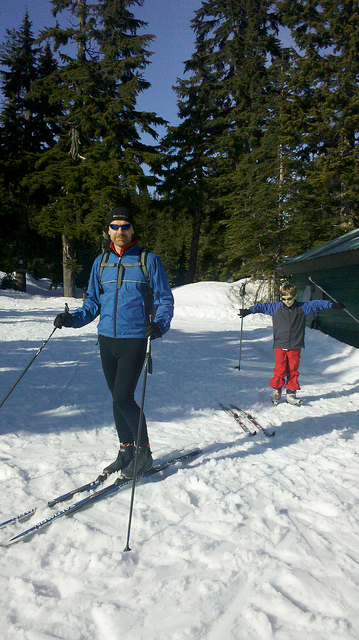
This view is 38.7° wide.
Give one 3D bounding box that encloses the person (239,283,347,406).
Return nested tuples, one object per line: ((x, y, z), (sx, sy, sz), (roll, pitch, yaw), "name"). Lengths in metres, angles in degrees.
((1.448, 0.300, 6.650), (0.804, 1.516, 0.891), (2, 6, -16), "person")

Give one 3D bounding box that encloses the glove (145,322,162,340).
((-0.177, 0.088, 3.337), (0.082, 0.042, 0.112), (-13, 42, -21), "glove")

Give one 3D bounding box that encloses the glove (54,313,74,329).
((-0.832, 0.009, 3.606), (0.101, 0.121, 0.229), (0, 6, -35), "glove")

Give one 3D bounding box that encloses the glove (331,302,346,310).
((1.987, -0.163, 6.336), (0.090, 0.051, 0.164), (4, -1, 44), "glove")

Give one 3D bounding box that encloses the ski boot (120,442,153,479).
((-0.297, 0.981, 3.560), (0.162, 0.294, 0.237), (7, 6, 31), "ski boot")

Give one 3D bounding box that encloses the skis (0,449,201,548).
((-0.565, 1.092, 3.261), (0.285, 0.031, 1.121), (6, 11, 36), "skis")

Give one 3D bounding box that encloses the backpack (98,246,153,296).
((-0.371, -0.384, 3.587), (0.394, 0.359, 0.308), (0, 0, 14), "backpack")

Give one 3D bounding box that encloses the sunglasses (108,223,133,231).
((-0.397, -0.623, 3.428), (0.156, 0.061, 0.075), (3, 5, -8), "sunglasses")

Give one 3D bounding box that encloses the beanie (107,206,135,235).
((-0.401, -0.672, 3.450), (0.117, 0.129, 0.132), (1, -15, 0), "beanie")

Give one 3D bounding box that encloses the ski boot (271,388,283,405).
((1.218, 0.976, 6.431), (0.079, 0.105, 0.243), (3, 47, 11), "ski boot")

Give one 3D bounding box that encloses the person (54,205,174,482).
((-0.431, 0.174, 3.604), (0.720, 1.958, 0.951), (3, 5, -8), "person")
